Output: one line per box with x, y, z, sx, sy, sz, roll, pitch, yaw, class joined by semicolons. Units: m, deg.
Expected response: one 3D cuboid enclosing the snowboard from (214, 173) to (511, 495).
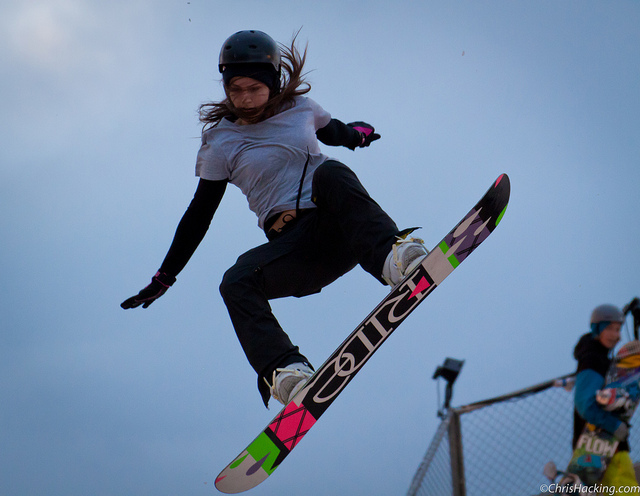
0.098;0.321;4.272;0.276;2.458;0.204;42;-1;1;snowboard

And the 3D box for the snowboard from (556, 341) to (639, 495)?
1.715;1.019;4.748;0.415;1.031;0.186;14;-19;-1;snowboard
